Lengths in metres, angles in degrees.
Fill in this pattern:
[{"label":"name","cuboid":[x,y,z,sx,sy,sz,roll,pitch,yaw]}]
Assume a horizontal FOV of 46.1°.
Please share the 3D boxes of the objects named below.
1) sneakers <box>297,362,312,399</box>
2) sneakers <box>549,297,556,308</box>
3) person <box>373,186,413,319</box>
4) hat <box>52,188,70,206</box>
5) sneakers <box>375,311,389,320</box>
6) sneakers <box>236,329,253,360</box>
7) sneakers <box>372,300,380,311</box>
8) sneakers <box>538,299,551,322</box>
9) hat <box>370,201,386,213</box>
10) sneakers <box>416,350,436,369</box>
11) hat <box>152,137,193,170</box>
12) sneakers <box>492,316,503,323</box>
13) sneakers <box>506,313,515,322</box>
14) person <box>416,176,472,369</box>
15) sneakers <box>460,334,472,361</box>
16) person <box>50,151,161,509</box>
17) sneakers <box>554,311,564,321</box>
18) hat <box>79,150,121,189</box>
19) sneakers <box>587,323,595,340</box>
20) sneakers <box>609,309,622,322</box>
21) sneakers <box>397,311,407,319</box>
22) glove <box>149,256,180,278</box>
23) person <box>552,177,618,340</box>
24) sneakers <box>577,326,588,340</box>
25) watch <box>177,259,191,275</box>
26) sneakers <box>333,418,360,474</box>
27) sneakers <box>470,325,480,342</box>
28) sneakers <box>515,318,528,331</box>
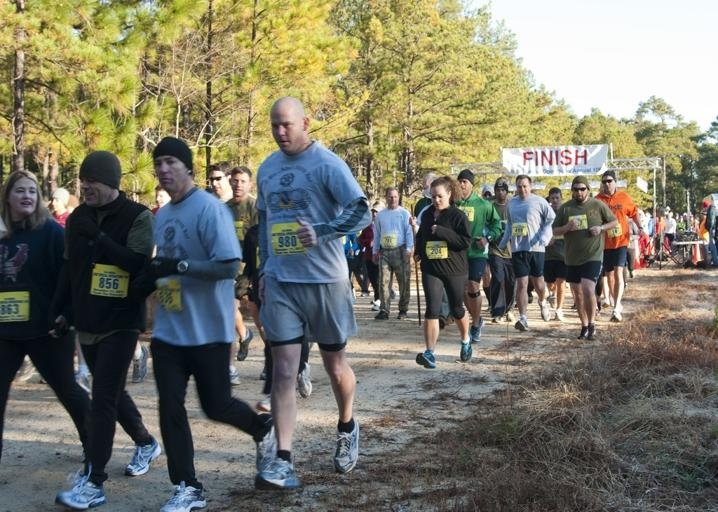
[{"label":"sneakers","cuboid":[-0.636,1.389,9.272,0.133,0.426,0.177,-5,5,17]},{"label":"sneakers","cuboid":[3.618,0.876,15.664,0.146,0.152,0.241,0,-23,6]},{"label":"person","cuboid":[0.596,0.001,14.518,0.716,2.337,0.881,-1,8,4]},{"label":"hat","cuboid":[-3.943,-0.765,11.103,0.150,0.167,0.210,16,-6,0]},{"label":"sneakers","cuboid":[0.414,1.057,14.736,0.110,0.107,0.233,-2,-9,21]},{"label":"sneakers","cuboid":[-1.503,1.171,10.957,0.153,0.484,0.201,9,-3,37]},{"label":"sneakers","cuboid":[0.330,0.955,16.026,0.179,0.224,0.510,-1,-7,6]},{"label":"sneakers","cuboid":[3.202,0.953,14.506,0.111,0.350,0.135,-12,-3,18]},{"label":"hat","cuboid":[0.408,-0.999,17.332,0.308,0.330,0.102,10,1,-3]},{"label":"sneakers","cuboid":[0.836,1.285,10.229,0.134,0.167,0.324,-1,-39,29]},{"label":"hat","cuboid":[-1.513,-0.819,6.928,0.265,0.229,0.281,3,-18,10]},{"label":"sneakers","cuboid":[2.327,1.078,14.076,0.071,0.081,0.186,-3,-12,27]},{"label":"sneakers","cuboid":[2.566,1.047,14.184,0.115,0.160,0.148,-6,-8,15]},{"label":"person","cuboid":[1.047,0.231,10.516,0.671,2.303,1.156,0,8,12]},{"label":"sneakers","cuboid":[1.381,1.182,10.752,0.113,0.342,0.141,-1,-7,39]},{"label":"person","cuboid":[-2.082,0.563,6.947,0.825,2.804,0.844,-3,8,-14]},{"label":"sneakers","cuboid":[3.416,1.051,14.272,0.110,0.174,0.171,-3,-35,4]},{"label":"hat","cuboid":[-2.134,-0.732,7.090,0.256,0.297,0.352,10,-8,25]},{"label":"sneakers","cuboid":[3.288,1.074,11.866,0.110,0.220,0.185,2,9,25]},{"label":"sneakers","cuboid":[4.214,1.019,13.749,0.100,0.136,0.306,-1,-17,6]},{"label":"sneakers","cuboid":[0.778,1.055,14.883,0.147,0.121,0.200,-4,-12,15]},{"label":"glove","cuboid":[-1.557,0.103,6.731,0.139,0.100,0.088,-2,20,14]},{"label":"person","cuboid":[3.282,0.043,12.241,0.883,2.356,1.214,1,8,14]},{"label":"sneakers","cuboid":[3.188,1.094,11.980,0.098,0.196,0.226,-4,8,-19]},{"label":"watch","cuboid":[-1.395,0.104,6.746,0.072,0.120,0.106,4,6,26]},{"label":"sneakers","cuboid":[-0.107,1.700,7.455,0.161,0.486,0.187,-2,-25,23]},{"label":"sneakers","cuboid":[1.640,1.072,11.815,0.110,0.146,0.322,1,23,9]},{"label":"sneakers","cuboid":[2.508,1.062,12.936,0.203,0.199,0.248,0,8,9]}]
